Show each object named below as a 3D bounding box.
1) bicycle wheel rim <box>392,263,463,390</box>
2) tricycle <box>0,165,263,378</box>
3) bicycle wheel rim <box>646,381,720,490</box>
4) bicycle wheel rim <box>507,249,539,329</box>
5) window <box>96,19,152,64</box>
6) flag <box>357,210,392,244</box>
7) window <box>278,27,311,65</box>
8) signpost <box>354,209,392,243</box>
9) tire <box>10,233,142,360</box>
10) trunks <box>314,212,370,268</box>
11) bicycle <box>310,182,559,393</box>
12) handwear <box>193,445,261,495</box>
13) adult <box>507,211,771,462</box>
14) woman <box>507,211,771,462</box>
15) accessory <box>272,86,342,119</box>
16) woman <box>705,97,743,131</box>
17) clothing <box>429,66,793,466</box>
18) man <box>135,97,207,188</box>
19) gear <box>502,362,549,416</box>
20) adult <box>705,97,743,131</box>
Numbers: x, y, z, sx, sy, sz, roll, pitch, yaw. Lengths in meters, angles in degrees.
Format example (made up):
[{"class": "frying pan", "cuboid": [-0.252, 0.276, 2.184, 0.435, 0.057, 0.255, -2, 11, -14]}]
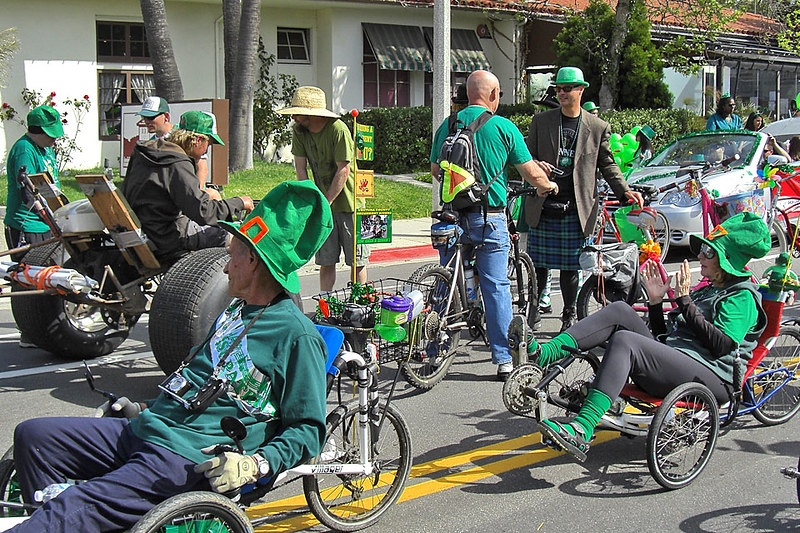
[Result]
[{"class": "bicycle wheel rim", "cuboid": [0.266, 0.566, 6.734, 0.361, 1.053, 1.033, 6, 32, 30]}, {"class": "tricycle", "cuboid": [-2.339, 0.027, 7.717, 1.731, 1.603, 2.506, 2, 17, 23]}, {"class": "bicycle wheel rim", "cuboid": [2.057, 1.216, 5.375, 0.675, 0.742, 0.278, -14, 19, -42]}, {"class": "bicycle wheel rim", "cuboid": [1.288, 0.220, 7.709, 0.236, 0.780, 0.753, -8, -10, 28]}, {"class": "window", "cuboid": [-7.840, -6.384, 21.174, 1.669, 1.255, 0.062, -3, -9, -16]}, {"class": "flag", "cuboid": [-0.320, -0.462, 8.556, 0.364, 0.335, 0.026, -1, 5, -19]}, {"class": "window", "cuboid": [-3.493, -6.927, 23.339, 1.240, 1.118, 0.095, 8, 36, 20]}, {"class": "signpost", "cuboid": [-0.336, -0.469, 8.546, 0.371, 0.339, 0.027, -1, 6, -19]}, {"class": "tire", "cuboid": [-3.186, 0.290, 7.273, 0.962, 0.994, 0.358, 26, -9, -41]}, {"class": "trunks", "cuboid": [-0.731, -0.354, 8.647, 0.622, 0.831, 0.305, -9, 30, -11]}, {"class": "bicycle", "cuboid": [0.818, 0.163, 7.587, 1.263, 1.782, 2.715, 8, 7, 40]}, {"class": "handwear", "cuboid": [-0.898, 1.068, 3.865, 0.300, 0.205, 0.108, -9, -6, -17]}, {"class": "adult", "cuboid": [1.954, 0.436, 5.648, 1.985, 1.822, 0.862, 4, 7, -13]}, {"class": "woman", "cuboid": [2.002, 0.425, 5.608, 1.942, 1.567, 0.704, -5, 15, -19]}, {"class": "accessory", "cuboid": [-1.081, -1.799, 8.180, 0.484, 0.216, 0.503, 1, 13, 6]}, {"class": "woman", "cuboid": [6.469, -2.954, 14.625, 0.804, 0.835, 0.404, -5, 11, -13]}, {"class": "clothing", "cuboid": [1.861, 0.225, 5.788, 2.413, 1.590, 1.212, 3, 25, -40]}, {"class": "man", "cuboid": [-2.626, -1.151, 8.161, 0.485, 1.392, 0.735, 1, 2, 30]}, {"class": "gear", "cuboid": [0.943, 0.942, 5.661, 0.352, 0.366, 0.083, 12, 3, -42]}, {"class": "adult", "cuboid": [6.463, -2.943, 14.620, 0.788, 0.820, 0.420, -5, 11, -12]}]
